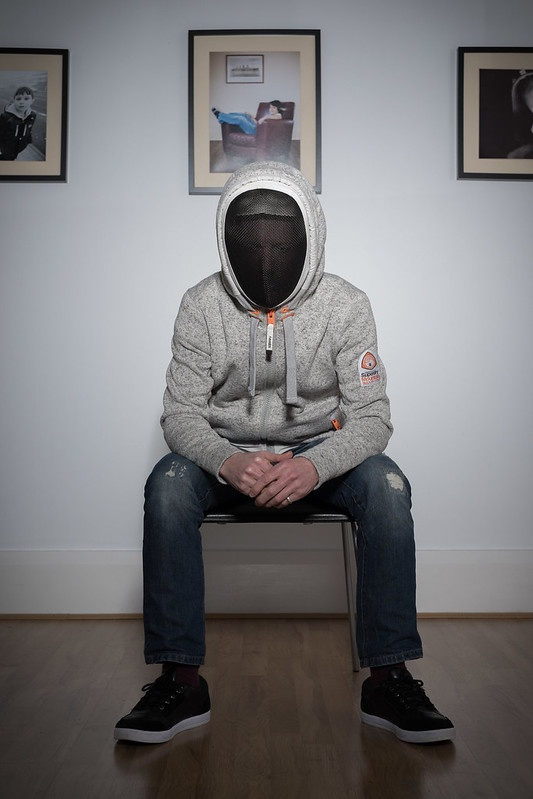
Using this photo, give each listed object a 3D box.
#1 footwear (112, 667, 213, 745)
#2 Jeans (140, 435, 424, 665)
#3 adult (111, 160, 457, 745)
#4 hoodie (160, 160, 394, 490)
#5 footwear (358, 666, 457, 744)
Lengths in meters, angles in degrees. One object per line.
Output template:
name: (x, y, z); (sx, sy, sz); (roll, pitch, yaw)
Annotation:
footwear: (-0.171, 0.519, 1.041); (0.070, 0.103, 0.218); (-12, -19, 25)
Jeans: (0.026, 0.284, 1.167); (0.550, 0.451, 0.362); (0, -18, 2)
adult: (0.061, 0.056, 1.154); (0.593, 1.034, 0.647); (0, 0, 21)
hoodie: (0.016, -0.140, 1.246); (0.425, 0.667, 0.388); (1, 2, 12)
footwear: (0.230, 0.518, 1.026); (0.073, 0.093, 0.218); (10, -19, -17)
